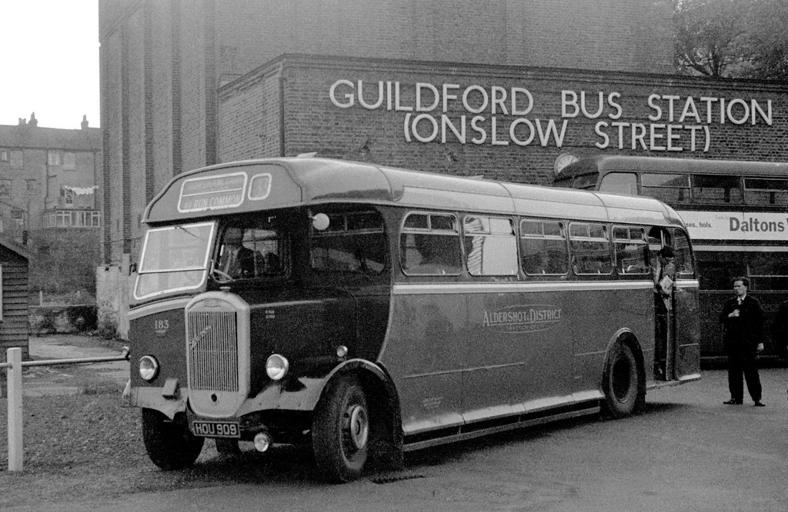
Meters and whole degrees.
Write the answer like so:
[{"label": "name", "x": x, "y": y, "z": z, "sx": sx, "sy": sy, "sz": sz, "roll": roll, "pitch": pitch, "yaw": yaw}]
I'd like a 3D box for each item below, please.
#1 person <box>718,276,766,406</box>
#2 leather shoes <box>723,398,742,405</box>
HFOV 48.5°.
[{"label": "person", "x": 7.419, "y": 1.808, "z": 18.632, "sx": 0.879, "sy": 2.666, "sz": 0.840, "roll": 1, "pitch": 4, "yaw": 21}, {"label": "leather shoes", "x": 7.211, "y": 3.110, "z": 18.625, "sx": 0.390, "sy": 0.178, "sz": 0.135, "roll": 2, "pitch": -3, "yaw": 18}]
